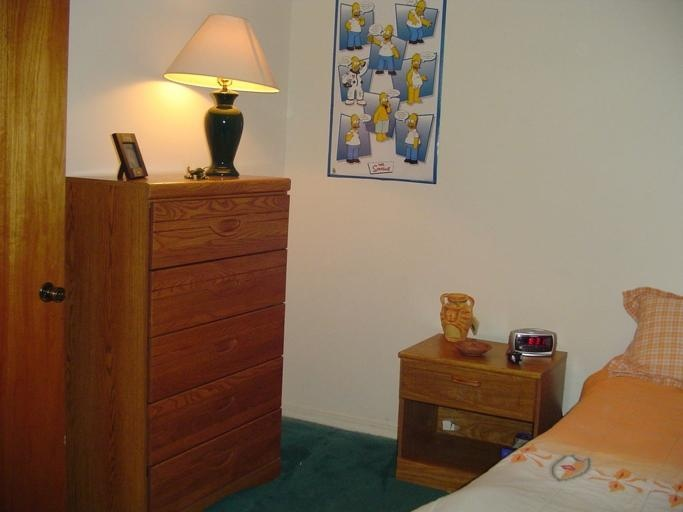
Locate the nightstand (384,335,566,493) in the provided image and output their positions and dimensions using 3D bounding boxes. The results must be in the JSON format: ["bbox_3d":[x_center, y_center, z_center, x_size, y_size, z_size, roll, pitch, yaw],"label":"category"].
[{"bbox_3d":[0.631,0.845,2.707,0.628,0.587,0.424,4,-14,27],"label":"nightstand"}]

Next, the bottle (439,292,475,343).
[{"bbox_3d":[0.625,0.315,2.895,0.187,0.231,0.241,5,10,35],"label":"bottle"}]

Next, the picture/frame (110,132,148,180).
[{"bbox_3d":[-0.838,-0.395,2.162,0.110,0.186,0.153,-6,9,-21],"label":"picture/frame"}]

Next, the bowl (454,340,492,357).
[{"bbox_3d":[0.666,0.459,2.723,0.154,0.062,0.208,2,9,26],"label":"bowl"}]

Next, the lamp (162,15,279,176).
[{"bbox_3d":[-0.547,-0.736,2.554,0.494,0.669,0.457,-6,16,-36],"label":"lamp"}]
